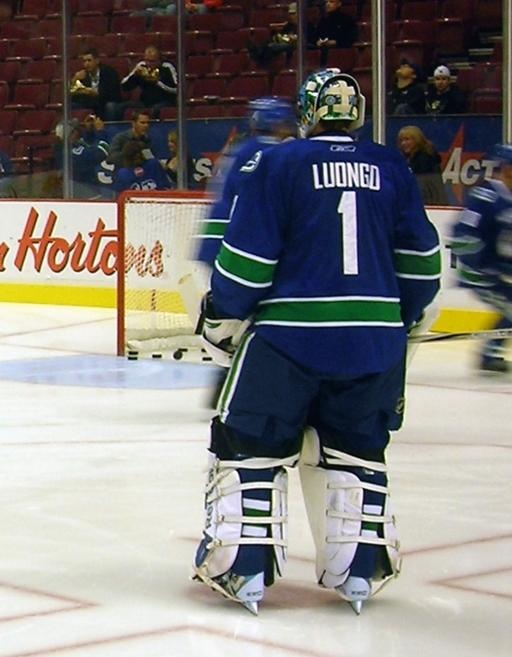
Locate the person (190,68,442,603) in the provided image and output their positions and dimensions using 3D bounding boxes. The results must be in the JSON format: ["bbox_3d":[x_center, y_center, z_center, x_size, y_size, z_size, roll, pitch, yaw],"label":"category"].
[{"bbox_3d":[0.155,0.032,2.231,0.597,1.322,0.339,0,9,-4],"label":"person"}]

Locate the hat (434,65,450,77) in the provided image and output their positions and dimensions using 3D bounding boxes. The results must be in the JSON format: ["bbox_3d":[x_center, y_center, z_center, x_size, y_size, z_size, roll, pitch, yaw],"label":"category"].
[{"bbox_3d":[1.440,-1.999,7.176,0.115,0.099,0.111,-1,-31,5],"label":"hat"}]

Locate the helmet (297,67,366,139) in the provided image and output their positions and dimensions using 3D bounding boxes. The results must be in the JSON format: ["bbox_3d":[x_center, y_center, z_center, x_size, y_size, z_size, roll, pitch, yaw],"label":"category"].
[{"bbox_3d":[0.199,-0.561,2.311,0.155,0.153,0.182,0,25,-7],"label":"helmet"}]

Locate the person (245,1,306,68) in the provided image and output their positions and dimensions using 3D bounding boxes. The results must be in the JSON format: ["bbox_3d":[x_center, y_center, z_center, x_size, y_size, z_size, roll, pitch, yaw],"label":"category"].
[{"bbox_3d":[0.180,-2.510,8.048,0.426,0.670,0.333,-10,50,-24],"label":"person"}]

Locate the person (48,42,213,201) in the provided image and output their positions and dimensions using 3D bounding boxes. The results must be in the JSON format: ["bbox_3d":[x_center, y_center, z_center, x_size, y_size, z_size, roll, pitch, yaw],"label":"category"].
[{"bbox_3d":[-1.306,-1.870,8.374,1.570,1.225,0.364,0,-3,27],"label":"person"}]
